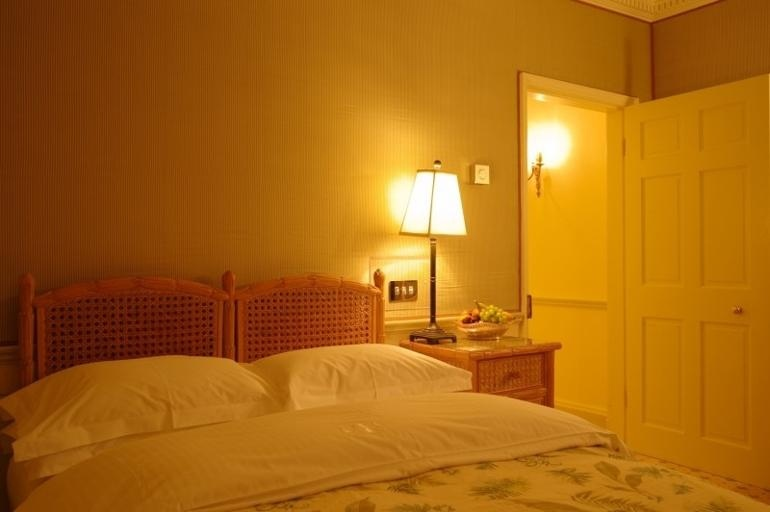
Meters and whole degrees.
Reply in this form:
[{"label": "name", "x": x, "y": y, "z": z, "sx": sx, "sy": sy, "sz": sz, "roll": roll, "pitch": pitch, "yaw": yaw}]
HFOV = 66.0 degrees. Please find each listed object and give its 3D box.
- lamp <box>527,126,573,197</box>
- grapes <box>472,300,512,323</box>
[{"label": "lamp", "x": 1.417, "y": -0.861, "z": 5.198, "sx": 0.101, "sy": 0.633, "sz": 0.427, "roll": 0, "pitch": 1, "yaw": -39}, {"label": "grapes", "x": 0.629, "y": 0.355, "z": 3.610, "sx": 0.113, "sy": 0.117, "sz": 0.204, "roll": -10, "pitch": 14, "yaw": -27}]
